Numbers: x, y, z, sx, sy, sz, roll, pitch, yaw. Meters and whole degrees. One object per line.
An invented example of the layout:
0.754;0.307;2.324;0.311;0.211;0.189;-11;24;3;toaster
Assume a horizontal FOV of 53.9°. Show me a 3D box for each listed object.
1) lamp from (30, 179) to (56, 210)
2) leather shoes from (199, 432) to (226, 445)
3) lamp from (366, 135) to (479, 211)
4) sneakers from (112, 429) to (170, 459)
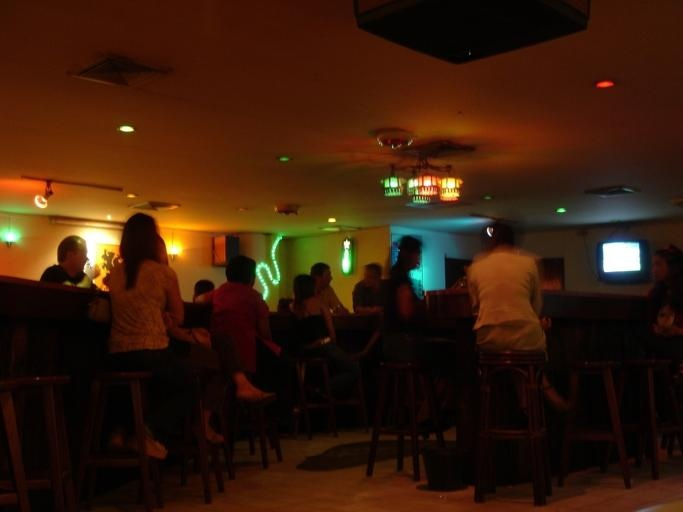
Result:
-4.364;-0.909;9.800;0.207;0.366;0.165;7;-22;-3;lamp
-0.948;1.344;4.950;0.157;0.062;0.113;11;-7;-19;leather shoes
0.981;-1.060;8.131;0.785;0.385;0.794;1;-17;-2;lamp
-1.370;1.267;4.522;0.251;0.094;0.255;1;-7;16;sneakers
